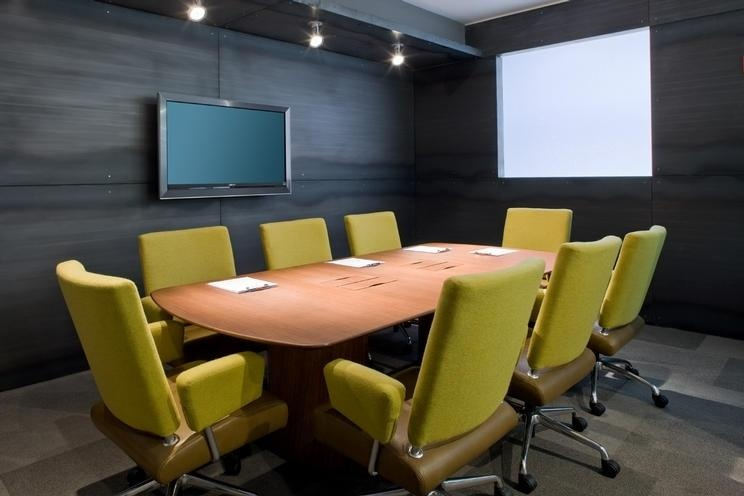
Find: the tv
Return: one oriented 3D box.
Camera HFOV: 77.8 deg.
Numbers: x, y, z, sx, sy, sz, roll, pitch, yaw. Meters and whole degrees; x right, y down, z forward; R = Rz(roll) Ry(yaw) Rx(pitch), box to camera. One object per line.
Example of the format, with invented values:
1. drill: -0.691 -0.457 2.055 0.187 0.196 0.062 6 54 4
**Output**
1. tv: -1.709 -1.163 5.180 1.505 1.022 0.129 -2 5 -42
